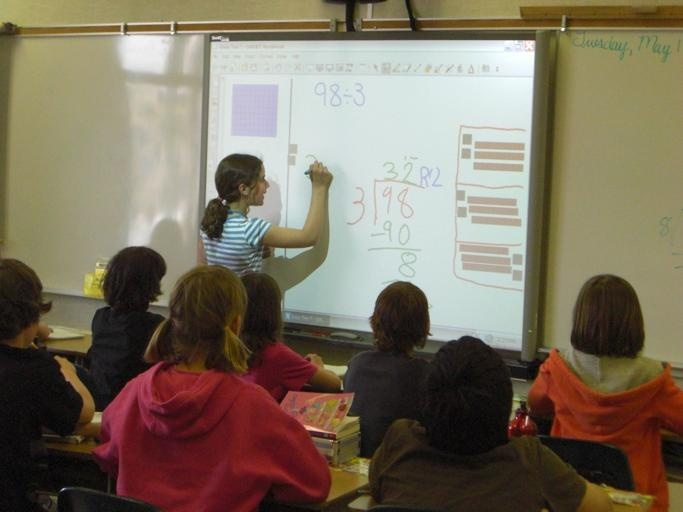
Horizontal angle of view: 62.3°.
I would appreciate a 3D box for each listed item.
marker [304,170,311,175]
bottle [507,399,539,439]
[{"bbox_3d":[-0.201,-0.503,3.412,0.026,0.037,0.031,-3,-14,19],"label":"marker"},{"bbox_3d":[0.706,0.666,2.196,0.113,0.171,0.113,3,-8,0],"label":"bottle"}]
